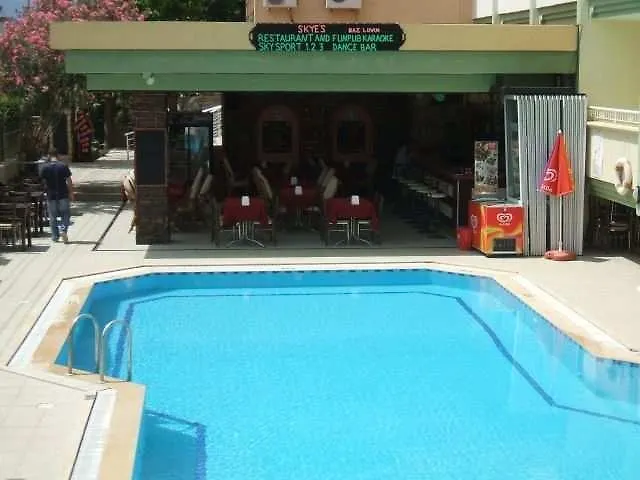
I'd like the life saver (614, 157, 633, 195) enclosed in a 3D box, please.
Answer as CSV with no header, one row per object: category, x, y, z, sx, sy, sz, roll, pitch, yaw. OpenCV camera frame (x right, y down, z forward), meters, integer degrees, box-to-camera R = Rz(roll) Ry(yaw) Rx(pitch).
life saver,5.392,-1.107,10.134,0.163,0.650,0.429,-1,13,-5

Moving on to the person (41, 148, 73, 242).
person,-5.647,-1.020,12.444,0.623,2.113,0.881,0,1,-16

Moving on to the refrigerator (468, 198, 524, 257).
refrigerator,3.735,-0.242,12.317,0.832,1.353,1.748,0,5,-1
